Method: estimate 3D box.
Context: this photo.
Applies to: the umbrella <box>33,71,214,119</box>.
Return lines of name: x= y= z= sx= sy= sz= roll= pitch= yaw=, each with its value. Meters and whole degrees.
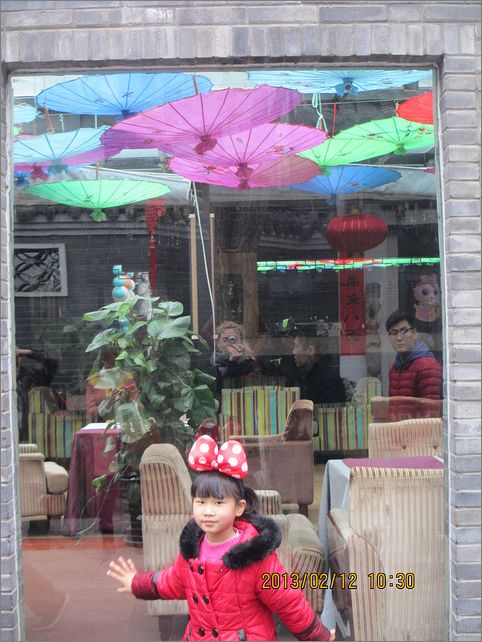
umbrella: x=-0.550 y=-0.975 z=4.599 sx=0.726 sy=0.177 sz=0.287 roll=-3 pitch=0 yaw=24

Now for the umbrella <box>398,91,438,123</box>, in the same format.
umbrella: x=0.762 y=-0.929 z=4.654 sx=0.124 sy=0.132 sz=0.132 roll=-8 pitch=-42 yaw=15

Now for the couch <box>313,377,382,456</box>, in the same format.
couch: x=0.467 y=0.445 z=5.058 sx=0.359 sy=0.391 sz=0.278 roll=0 pitch=-5 yaw=1

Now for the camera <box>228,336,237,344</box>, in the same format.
camera: x=-0.038 y=0.087 z=4.869 sx=0.031 sy=0.033 sz=0.034 roll=3 pitch=-5 yaw=-9

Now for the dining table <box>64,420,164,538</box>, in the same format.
dining table: x=-0.611 y=0.737 z=5.146 sx=0.462 sy=0.602 sz=0.435 roll=2 pitch=-3 yaw=-2

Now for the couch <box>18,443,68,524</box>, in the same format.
couch: x=-0.977 y=0.740 z=5.018 sx=0.253 sy=0.312 sz=0.432 roll=-3 pitch=5 yaw=-12

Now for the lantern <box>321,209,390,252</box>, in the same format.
lantern: x=0.530 y=-0.402 z=4.848 sx=0.207 sy=0.176 sz=0.219 roll=-1 pitch=5 yaw=7
